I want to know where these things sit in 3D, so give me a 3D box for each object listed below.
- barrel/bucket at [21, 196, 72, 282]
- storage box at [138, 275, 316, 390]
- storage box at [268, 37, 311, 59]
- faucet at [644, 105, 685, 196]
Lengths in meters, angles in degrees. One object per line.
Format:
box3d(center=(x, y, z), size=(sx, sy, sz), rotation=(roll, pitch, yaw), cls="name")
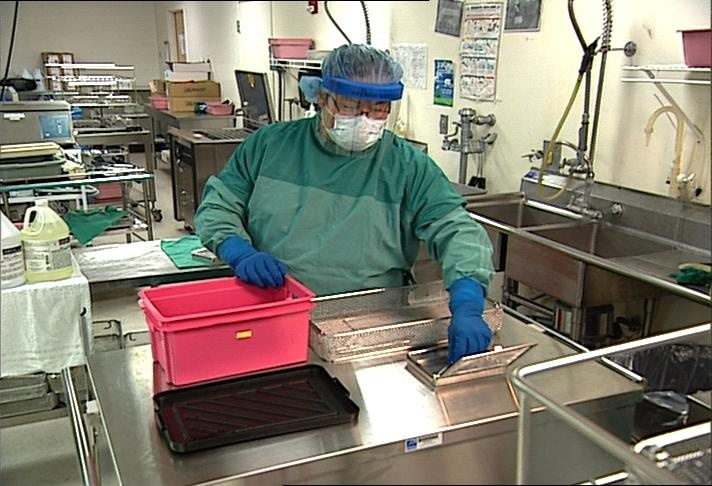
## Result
box3d(center=(-1.387, -0.012, 2.396), size=(0.202, 0.376, 0.229), rotation=(-11, 18, -25), cls="barrel/bucket")
box3d(center=(-0.387, 0.277, 1.656), size=(0.487, 0.219, 0.307), rotation=(-6, 20, -26), cls="storage box")
box3d(center=(-0.672, -2.027, 5.704), size=(0.445, 0.201, 0.319), rotation=(-9, 24, -23), cls="storage box")
box3d(center=(1.655, -0.497, 2.879), size=(0.176, 0.466, 0.241), rotation=(-18, 22, -41), cls="faucet")
